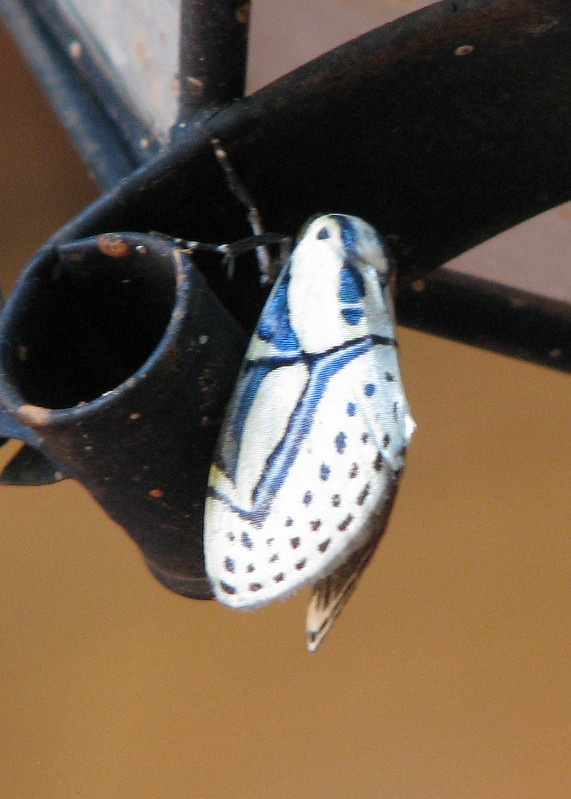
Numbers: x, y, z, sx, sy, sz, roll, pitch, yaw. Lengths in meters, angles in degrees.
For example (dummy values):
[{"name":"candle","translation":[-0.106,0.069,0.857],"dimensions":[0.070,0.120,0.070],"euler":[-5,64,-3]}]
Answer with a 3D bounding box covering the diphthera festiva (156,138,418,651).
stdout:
[{"name":"diphthera festiva","translation":[0.014,0.023,0.626],"dimensions":[0.104,0.241,0.264],"euler":[-6,74,28]}]
